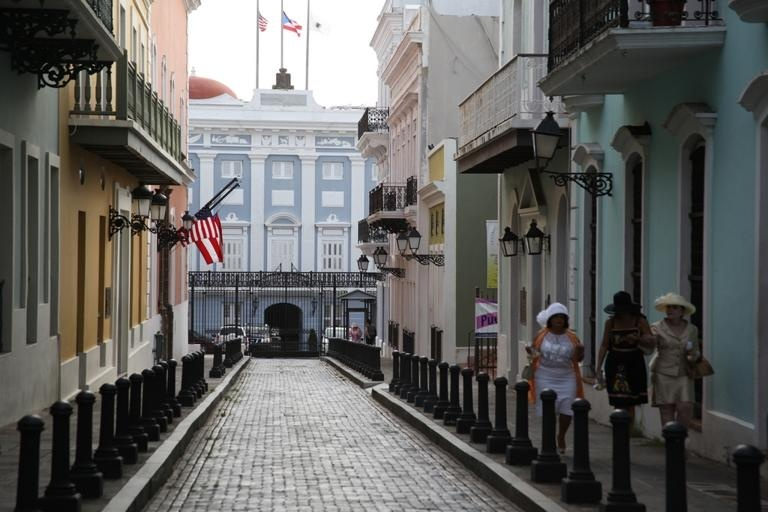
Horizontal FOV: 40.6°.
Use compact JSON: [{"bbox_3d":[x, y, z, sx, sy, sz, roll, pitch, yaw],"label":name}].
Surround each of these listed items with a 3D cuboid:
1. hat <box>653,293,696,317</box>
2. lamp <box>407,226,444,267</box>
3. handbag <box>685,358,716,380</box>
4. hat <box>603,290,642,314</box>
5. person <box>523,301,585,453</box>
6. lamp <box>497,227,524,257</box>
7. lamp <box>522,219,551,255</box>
[{"bbox_3d":[3.947,0.636,14.087,0.500,0.252,0.318,0,-3,14],"label":"hat"},{"bbox_3d":[1.464,-0.359,35.374,1.249,1.185,0.430,0,11,3],"label":"lamp"},{"bbox_3d":[4.298,1.531,14.120,0.303,0.331,0.133,-6,-24,-11],"label":"handbag"},{"bbox_3d":[3.288,0.663,14.312,0.363,0.202,0.384,-15,-4,1],"label":"hat"},{"bbox_3d":[2.389,1.716,14.559,0.755,2.101,0.483,1,-3,10],"label":"person"},{"bbox_3d":[2.989,-0.335,24.328,0.590,0.984,0.603,0,-2,0],"label":"lamp"},{"bbox_3d":[3.222,-0.404,22.574,0.525,0.767,0.498,-1,-5,-13],"label":"lamp"}]
